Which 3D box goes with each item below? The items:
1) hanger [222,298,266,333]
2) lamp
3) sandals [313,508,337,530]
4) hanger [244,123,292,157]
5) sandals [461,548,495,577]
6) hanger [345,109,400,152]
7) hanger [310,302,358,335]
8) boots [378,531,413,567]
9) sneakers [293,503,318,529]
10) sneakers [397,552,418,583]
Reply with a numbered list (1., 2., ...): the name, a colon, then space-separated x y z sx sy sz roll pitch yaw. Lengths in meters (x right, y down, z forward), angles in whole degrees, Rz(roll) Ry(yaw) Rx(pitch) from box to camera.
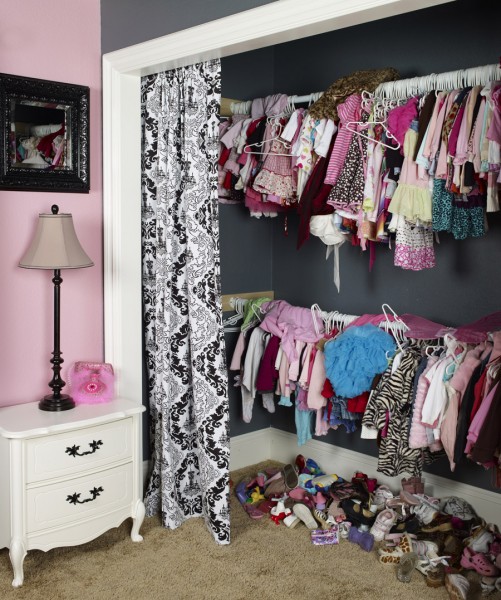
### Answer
1. hanger: -0.037 0.085 3.229 0.246 0.085 0.192 -27 -16 37
2. lamp: -0.816 0.029 2.293 0.281 0.840 0.345 -2 7 -22
3. sandals: 0.345 1.058 2.631 0.039 0.042 0.111 -7 12 -24
4. hanger: 0.095 -0.816 2.790 0.227 0.144 0.010 12 16 34
5. sandals: 0.878 1.017 2.121 0.064 0.050 0.127 -3 -4 -33
6. hanger: 0.539 -0.731 2.374 0.090 0.182 0.273 -6 9 -45
7. hanger: 0.431 0.088 2.903 0.191 0.075 0.194 -3 6 -45
8. boots: 0.596 1.038 2.274 0.088 0.050 0.150 -7 13 39
9. sneakers: 0.259 1.047 2.645 0.051 0.045 0.140 19 3 -26
10. sneakers: 0.615 1.064 2.180 0.048 0.049 0.124 3 15 21
